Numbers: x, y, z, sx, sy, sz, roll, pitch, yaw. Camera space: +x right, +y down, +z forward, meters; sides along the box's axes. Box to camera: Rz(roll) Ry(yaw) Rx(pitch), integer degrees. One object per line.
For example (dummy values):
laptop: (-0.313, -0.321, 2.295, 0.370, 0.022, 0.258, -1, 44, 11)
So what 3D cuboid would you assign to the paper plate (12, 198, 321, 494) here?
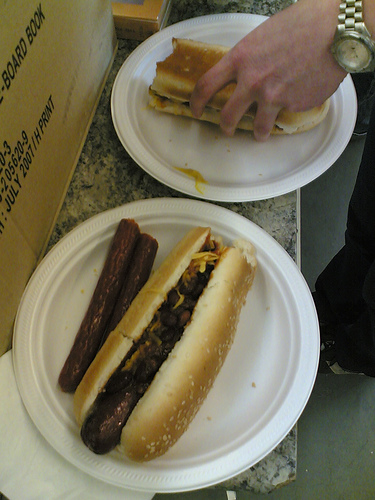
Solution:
paper plate: (-0.070, 0.228, 1.087, 0.441, 0.073, 0.647, 3, 79, -3)

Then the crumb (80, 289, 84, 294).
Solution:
crumb: (-0.268, 0.104, 1.163, 0.007, 0.002, 0.010, 5, 82, -13)

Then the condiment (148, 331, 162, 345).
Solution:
condiment: (-0.076, 0.208, 1.103, 0.019, 0.008, 0.035, -39, 73, 2)

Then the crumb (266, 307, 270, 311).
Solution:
crumb: (0.202, 0.145, 1.153, 0.004, 0.002, 0.007, -9, 57, 17)

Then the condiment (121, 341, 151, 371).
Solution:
condiment: (-0.122, 0.249, 1.079, 0.009, 0.020, 0.077, 23, 59, 36)

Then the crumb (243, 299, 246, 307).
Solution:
crumb: (0.146, 0.133, 1.178, 0.002, 0.007, 0.012, 17, 105, 27)

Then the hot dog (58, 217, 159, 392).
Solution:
hot dog: (-0.175, 0.095, 1.204, 0.126, 0.111, 0.550, 21, 75, 0)

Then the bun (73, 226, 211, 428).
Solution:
bun: (-0.110, 0.194, 1.096, 0.072, 0.069, 0.479, 31, 68, -22)

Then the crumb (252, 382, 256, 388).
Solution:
crumb: (0.160, 0.323, 1.106, 0.005, 0.002, 0.010, -14, 46, -2)

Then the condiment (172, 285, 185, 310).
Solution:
condiment: (-0.022, 0.113, 1.131, 0.011, 0.033, 0.050, -10, 55, 39)

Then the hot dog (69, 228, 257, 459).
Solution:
hot dog: (-0.051, 0.240, 1.221, 0.272, 0.208, 0.691, 28, 73, 2)
